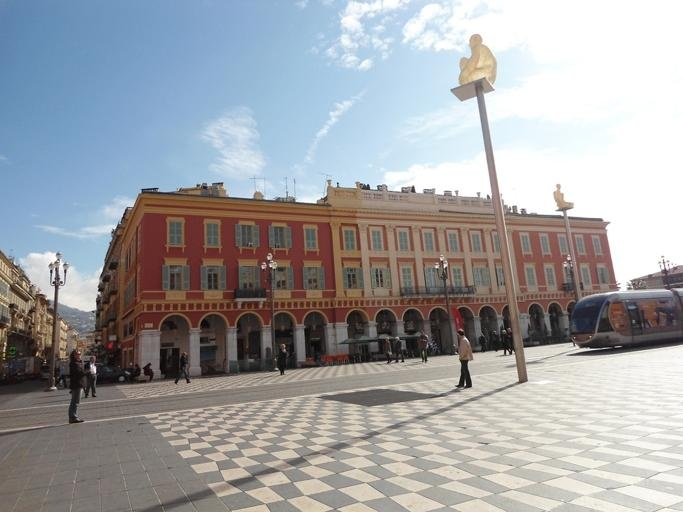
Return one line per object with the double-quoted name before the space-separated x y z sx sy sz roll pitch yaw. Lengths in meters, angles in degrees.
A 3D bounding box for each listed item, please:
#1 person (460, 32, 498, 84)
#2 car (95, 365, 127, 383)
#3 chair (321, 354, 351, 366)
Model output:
"person" 5.140 -7.484 15.810 1.265 2.100 0.365 -8 -11 19
"car" -17.089 8.882 31.017 1.864 0.888 1.156 11 -16 -29
"chair" -0.514 8.663 34.719 2.411 0.824 1.787 -4 -10 1
